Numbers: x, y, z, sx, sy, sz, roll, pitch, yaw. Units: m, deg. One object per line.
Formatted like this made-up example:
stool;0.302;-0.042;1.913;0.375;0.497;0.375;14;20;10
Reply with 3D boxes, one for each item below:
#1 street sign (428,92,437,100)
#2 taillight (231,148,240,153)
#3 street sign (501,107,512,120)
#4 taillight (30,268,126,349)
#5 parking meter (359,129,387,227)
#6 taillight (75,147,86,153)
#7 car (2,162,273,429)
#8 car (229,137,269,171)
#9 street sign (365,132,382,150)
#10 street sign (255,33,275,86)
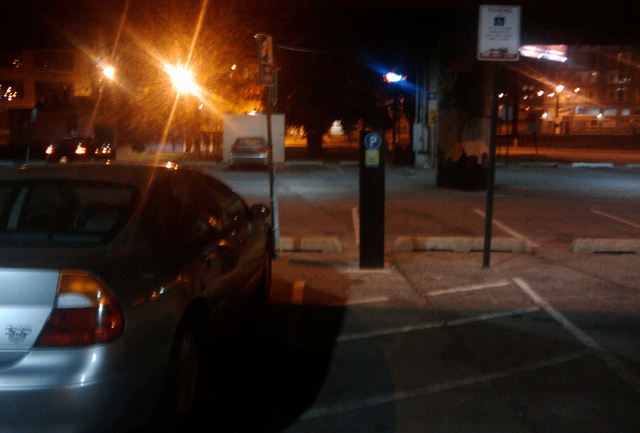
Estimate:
street sign;6.146;-6.699;27.122;0.309;0.325;0.580;1;10;13
taillight;-4.823;-3.828;28.208;0.277;0.305;0.075;9;-3;12
street sign;9.280;-5.179;24.483;0.416;0.603;0.962;2;10;17
taillight;-1.462;0.571;3.039;0.547;0.261;0.327;2;30;-32
parking meter;0.801;-0.576;7.614;0.397;1.508;0.232;0;8;4
taillight;-14.323;-4.018;29.372;0.345;0.342;0.559;1;9;8
car;-1.416;0.401;4.290;1.296;1.015;3.015;1;11;4
car;-4.160;-3.785;30.872;2.384;2.066;5.633;1;13;0
street sign;0.804;-1.162;7.498;0.247;0.255;0.066;0;8;5
street sign;-0.911;-2.658;8.177;0.283;0.946;0.868;-1;9;-5
